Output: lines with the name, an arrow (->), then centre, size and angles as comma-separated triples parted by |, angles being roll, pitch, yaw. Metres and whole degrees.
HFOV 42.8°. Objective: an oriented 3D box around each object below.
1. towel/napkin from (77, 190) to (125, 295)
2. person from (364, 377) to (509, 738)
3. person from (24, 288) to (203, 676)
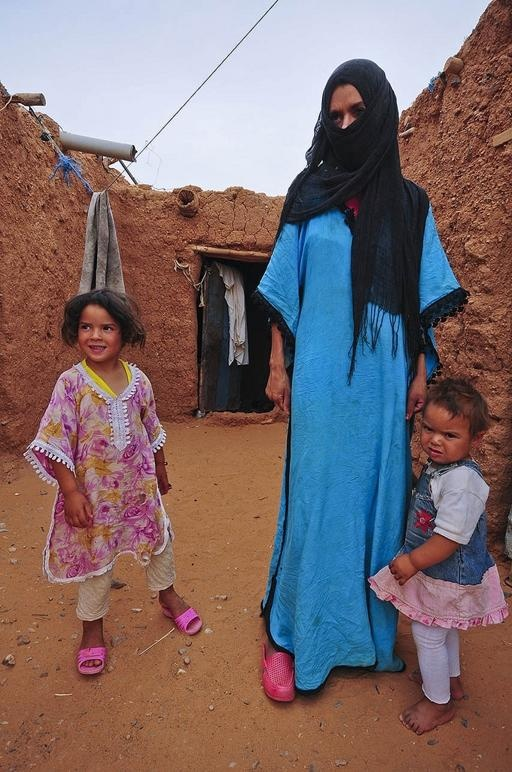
towel/napkin -> -0.907, -0.864, 3.865 | 0.239, 0.591, 0.455 | 0, 10, -13
person -> 0.623, 0.569, 2.194 | 0.421, 1.182, 0.302 | 1, 11, -10
person -> -0.564, 0.264, 2.457 | 0.572, 1.235, 0.345 | -1, 11, -22
